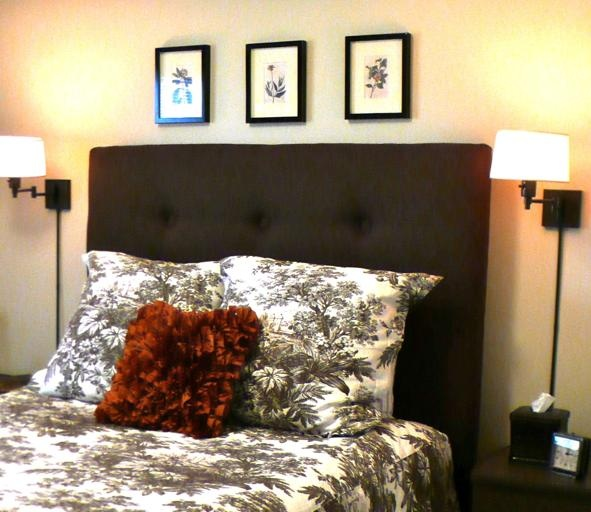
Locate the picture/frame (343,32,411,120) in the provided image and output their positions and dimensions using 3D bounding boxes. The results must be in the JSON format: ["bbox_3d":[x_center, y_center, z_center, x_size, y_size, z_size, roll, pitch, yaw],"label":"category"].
[{"bbox_3d":[0.325,-0.699,2.108,0.320,0.414,0.033,2,1,23],"label":"picture/frame"}]

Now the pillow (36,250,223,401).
[{"bbox_3d":[-0.554,0.273,1.962,0.519,0.521,0.173,-6,-30,34],"label":"pillow"}]

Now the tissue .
[{"bbox_3d":[0.755,0.530,1.776,0.184,0.270,0.192,0,-3,13],"label":"tissue "}]

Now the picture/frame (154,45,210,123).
[{"bbox_3d":[-0.485,-0.761,2.401,0.321,0.402,0.065,2,4,24],"label":"picture/frame"}]

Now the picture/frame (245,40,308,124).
[{"bbox_3d":[-0.067,-0.722,2.251,0.331,0.411,0.044,1,2,23],"label":"picture/frame"}]

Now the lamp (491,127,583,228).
[{"bbox_3d":[0.808,-0.250,1.833,0.225,0.312,0.318,5,6,38],"label":"lamp"}]

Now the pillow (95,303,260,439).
[{"bbox_3d":[-0.324,0.337,1.590,0.385,0.396,0.123,5,-25,21],"label":"pillow"}]

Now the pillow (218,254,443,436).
[{"bbox_3d":[0.118,0.177,1.789,0.803,0.615,0.423,2,0,15],"label":"pillow"}]
